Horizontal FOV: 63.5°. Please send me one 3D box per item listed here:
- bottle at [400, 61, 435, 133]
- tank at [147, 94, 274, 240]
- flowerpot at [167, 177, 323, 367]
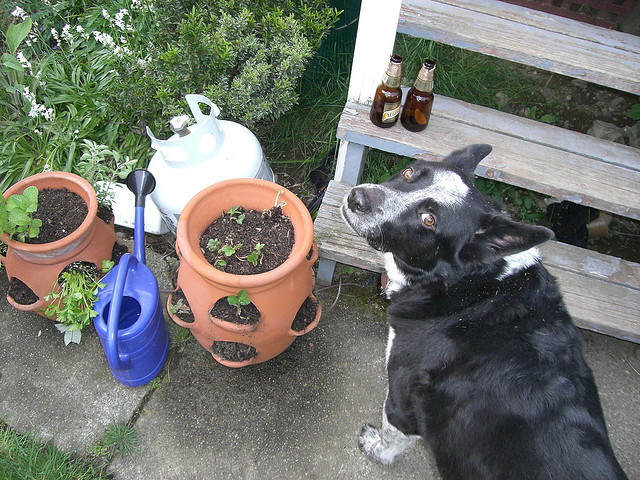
[{"bbox_3d":[0.738,-1.047,3.776,0.211,0.470,0.197,6,46,-6],"label":"bottle"},{"bbox_3d":[-0.780,-0.529,3.707,0.571,0.927,0.553,-22,52,2],"label":"tank"},{"bbox_3d":[-0.547,0.253,3.662,1.193,1.011,1.166,-8,49,-14],"label":"flowerpot"}]
